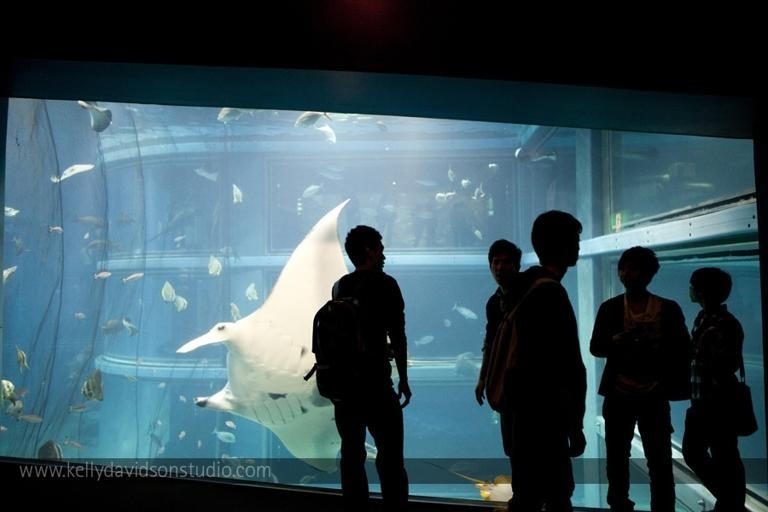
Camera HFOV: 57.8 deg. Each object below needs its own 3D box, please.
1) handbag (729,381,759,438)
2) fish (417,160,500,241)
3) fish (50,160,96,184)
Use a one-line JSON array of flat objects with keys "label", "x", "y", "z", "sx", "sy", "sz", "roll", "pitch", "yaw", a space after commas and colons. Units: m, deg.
[{"label": "handbag", "x": 3.710, "y": 1.558, "z": 7.160, "sx": 0.242, "sy": 0.558, "sz": 0.150, "roll": -1, "pitch": -7, "yaw": 11}, {"label": "fish", "x": 1.964, "y": -1.227, "z": 18.619, "sx": 1.749, "sy": 2.144, "sz": 3.962, "roll": 1, "pitch": -6, "yaw": 0}, {"label": "fish", "x": -5.598, "y": -1.502, "z": 12.409, "sx": 0.449, "sy": 0.192, "sz": 1.345, "roll": 13, "pitch": -15, "yaw": -39}]
